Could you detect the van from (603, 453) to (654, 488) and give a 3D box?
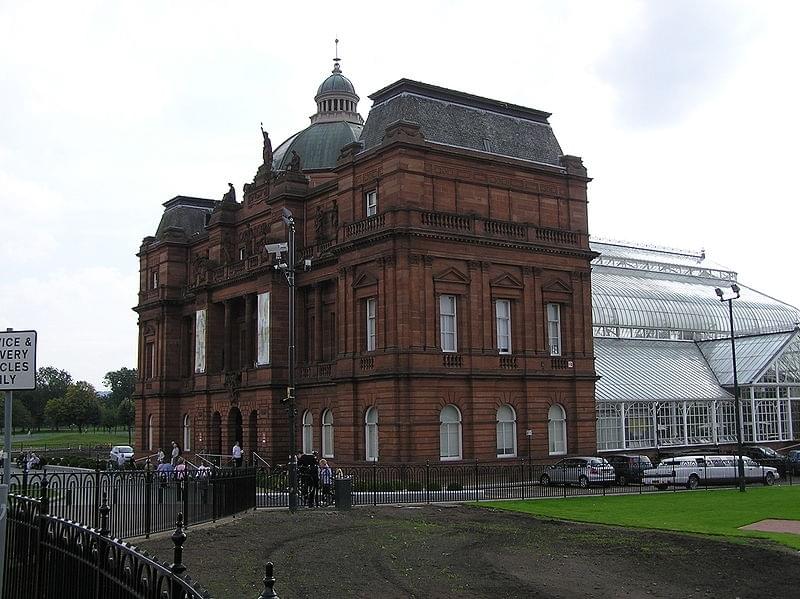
[{"bbox_3d":[12.377,9.051,50.340,1.394,0.946,2.164,2,-1,-35],"label":"van"}]

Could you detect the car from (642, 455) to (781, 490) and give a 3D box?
[{"bbox_3d":[16.465,8.958,49.203,8.118,1.472,2.709,-1,-5,-20],"label":"car"}]
